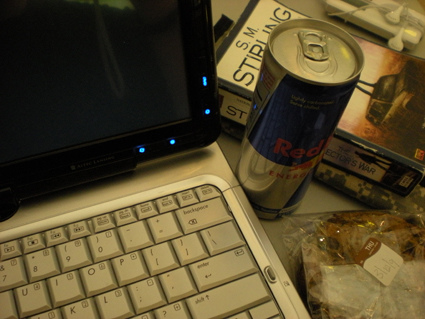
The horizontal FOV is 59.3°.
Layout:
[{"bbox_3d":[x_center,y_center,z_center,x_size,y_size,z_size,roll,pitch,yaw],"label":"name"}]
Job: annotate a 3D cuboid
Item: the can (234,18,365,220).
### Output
[{"bbox_3d":[0.091,-0.048,0.465,0.105,0.253,0.124,-15,49,-22],"label":"can"}]
